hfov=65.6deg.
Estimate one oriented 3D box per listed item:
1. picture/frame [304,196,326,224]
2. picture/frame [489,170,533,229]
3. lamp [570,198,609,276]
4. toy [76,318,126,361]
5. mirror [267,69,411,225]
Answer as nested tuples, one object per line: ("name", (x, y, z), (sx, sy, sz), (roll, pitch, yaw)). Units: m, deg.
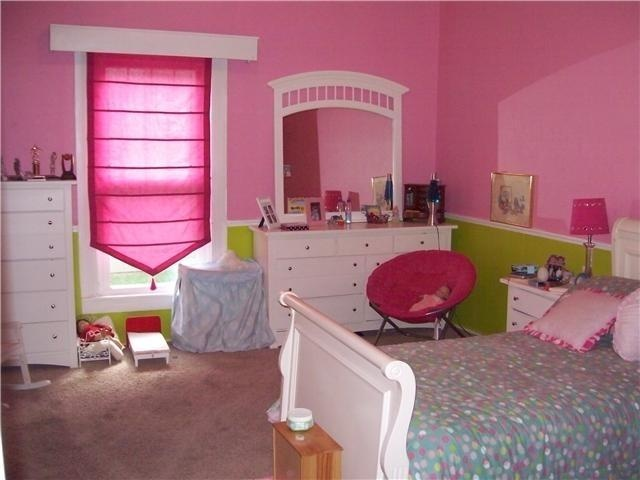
("picture/frame", (-0.071, -0.330, 5.549), (0.289, 0.457, 0.031), (0, -14, -15))
("picture/frame", (1.886, -0.400, 4.867), (0.077, 0.554, 0.545), (-1, 5, -21))
("lamp", (2.038, 0.017, 3.754), (0.273, 0.645, 0.227), (-1, -1, 36))
("toy", (-2.134, 0.969, 4.817), (0.405, 0.328, 0.497), (-5, 12, -27))
("mirror", (0.139, -1.080, 5.635), (1.660, 1.821, 0.070), (-1, 2, -21))
